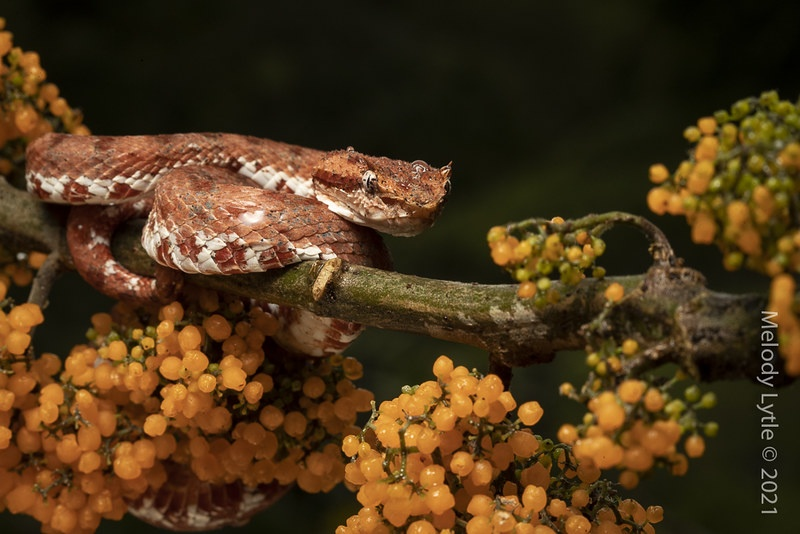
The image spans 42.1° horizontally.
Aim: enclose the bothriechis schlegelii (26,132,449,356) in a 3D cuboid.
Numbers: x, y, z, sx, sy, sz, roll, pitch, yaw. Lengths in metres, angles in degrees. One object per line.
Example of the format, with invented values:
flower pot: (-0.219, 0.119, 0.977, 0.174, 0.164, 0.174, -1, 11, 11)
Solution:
bothriechis schlegelii: (-0.465, -0.067, 2.678, 0.856, 1.204, 0.363, 7, 83, 56)
